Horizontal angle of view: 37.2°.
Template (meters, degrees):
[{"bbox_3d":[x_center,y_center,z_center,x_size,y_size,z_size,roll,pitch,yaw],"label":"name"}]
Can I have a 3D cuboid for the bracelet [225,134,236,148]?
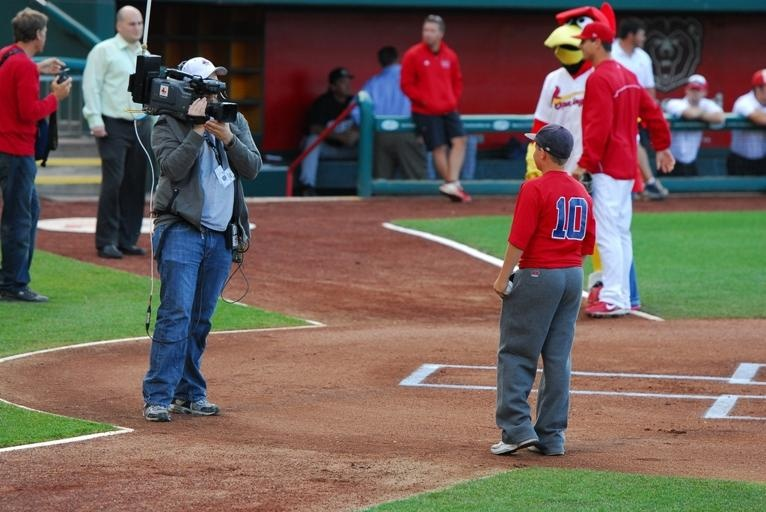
[{"bbox_3d":[-1.195,-0.883,8.637,0.085,0.044,0.094,-33,13,7],"label":"bracelet"}]

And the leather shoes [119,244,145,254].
[{"bbox_3d":[-2.860,-0.084,12.756,0.315,0.106,0.098,-2,11,-14],"label":"leather shoes"}]

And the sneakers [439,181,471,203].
[{"bbox_3d":[0.883,-0.835,14.688,0.444,0.175,0.202,17,19,-20],"label":"sneakers"}]

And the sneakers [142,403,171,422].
[{"bbox_3d":[-1.737,1.196,8.595,0.100,0.093,0.225,4,-8,-33],"label":"sneakers"}]

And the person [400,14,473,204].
[{"bbox_3d":[0.644,-1.841,14.280,0.593,2.245,1.034,6,4,27],"label":"person"}]

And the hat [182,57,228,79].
[{"bbox_3d":[-1.417,-1.465,8.773,0.307,0.096,0.190,0,10,24],"label":"hat"}]

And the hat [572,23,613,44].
[{"bbox_3d":[1.984,-2.123,10.711,0.289,0.132,0.180,10,24,23],"label":"hat"}]

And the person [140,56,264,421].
[{"bbox_3d":[-1.443,-0.141,8.764,0.776,2.796,0.407,3,4,-19],"label":"person"}]

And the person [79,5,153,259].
[{"bbox_3d":[-2.962,-1.343,12.349,0.725,2.753,0.511,3,4,-18],"label":"person"}]

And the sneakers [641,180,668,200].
[{"bbox_3d":[3.741,-0.917,15.669,0.172,0.195,0.510,4,4,39],"label":"sneakers"}]

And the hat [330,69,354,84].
[{"bbox_3d":[-0.689,-2.724,16.890,0.321,0.140,0.221,-14,4,13],"label":"hat"}]

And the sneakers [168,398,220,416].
[{"bbox_3d":[-1.507,1.180,8.901,0.383,0.161,0.138,1,-2,8],"label":"sneakers"}]

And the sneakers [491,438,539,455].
[{"bbox_3d":[0.913,1.374,8.208,0.360,0.134,0.130,-4,1,29],"label":"sneakers"}]

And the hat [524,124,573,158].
[{"bbox_3d":[1.197,-0.844,8.274,0.312,0.161,0.225,34,36,25],"label":"hat"}]

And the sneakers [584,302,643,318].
[{"bbox_3d":[2.261,0.520,11.157,0.509,0.185,0.159,2,3,-3],"label":"sneakers"}]

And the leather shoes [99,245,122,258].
[{"bbox_3d":[-3.065,-0.063,12.527,0.276,0.098,0.133,-1,1,43],"label":"leather shoes"}]
